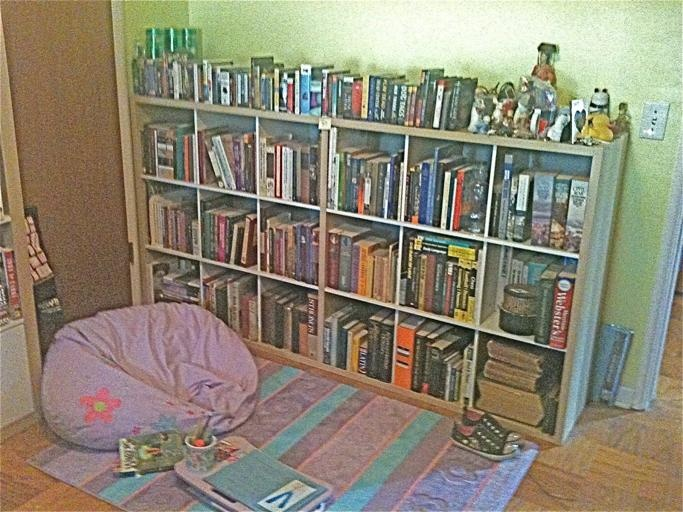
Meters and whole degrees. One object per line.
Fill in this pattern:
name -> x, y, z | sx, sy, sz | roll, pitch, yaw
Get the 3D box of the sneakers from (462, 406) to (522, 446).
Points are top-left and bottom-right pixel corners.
sneakers -> 0.759, 0.858, 2.877 | 0.352, 0.130, 0.119 | 15, 30, 30

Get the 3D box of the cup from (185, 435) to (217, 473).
cup -> -0.620, 0.870, 2.552 | 0.154, 0.140, 0.148 | 2, 7, 0

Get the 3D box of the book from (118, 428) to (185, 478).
book -> -0.906, 0.928, 2.679 | 0.307, 0.091, 0.205 | -4, 20, -12

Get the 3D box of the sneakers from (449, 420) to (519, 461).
sneakers -> 0.705, 0.913, 2.796 | 0.238, 0.084, 0.164 | 10, 29, 21

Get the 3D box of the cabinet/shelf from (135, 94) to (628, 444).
cabinet/shelf -> 0.288, 0.083, 3.027 | 1.860, 0.941, 0.420 | 14, 21, 25

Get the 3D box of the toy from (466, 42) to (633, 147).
toy -> 1.024, -0.797, 2.723 | 0.691, 0.442, 0.434 | 10, 22, 26
